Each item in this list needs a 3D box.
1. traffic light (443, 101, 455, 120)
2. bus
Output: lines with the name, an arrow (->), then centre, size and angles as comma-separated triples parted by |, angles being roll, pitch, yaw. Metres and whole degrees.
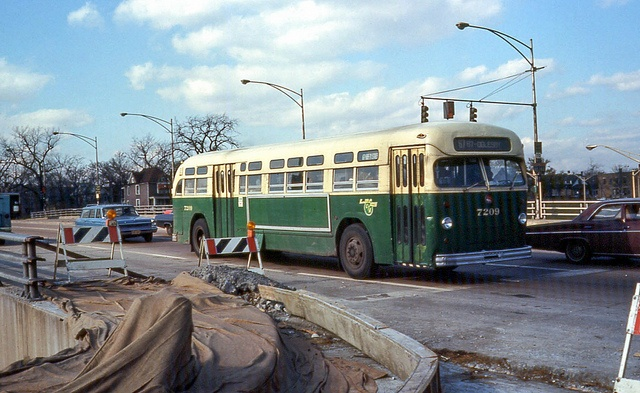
traffic light -> 7.025, -4.711, 25.987 | 0.457, 0.977, 1.139 | 0, 3, 8
bus -> -0.303, 0.096, 17.743 | 14.903, 4.629, 3.494 | 1, 3, 43
